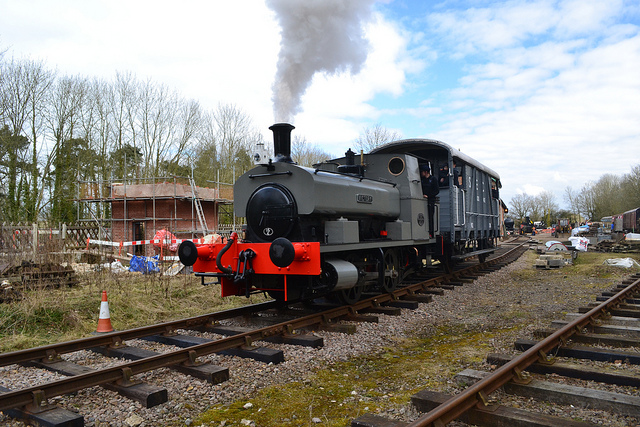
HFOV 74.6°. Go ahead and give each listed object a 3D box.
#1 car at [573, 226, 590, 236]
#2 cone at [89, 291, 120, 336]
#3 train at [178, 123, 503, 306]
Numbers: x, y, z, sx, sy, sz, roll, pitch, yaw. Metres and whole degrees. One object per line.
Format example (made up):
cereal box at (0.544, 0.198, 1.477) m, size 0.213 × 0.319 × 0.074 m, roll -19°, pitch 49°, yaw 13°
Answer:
car at (33.025, 2.138, 53.451) m, size 2.825 × 1.005 × 2.131 m, roll -5°, pitch 3°, yaw -45°
cone at (-4.691, 2.121, 9.052) m, size 0.851 × 0.839 × 0.866 m, roll 1°, pitch -7°, yaw -10°
train at (2.559, 0.052, 14.372) m, size 4.032 × 4.647 × 14.274 m, roll -3°, pitch -2°, yaw 27°
